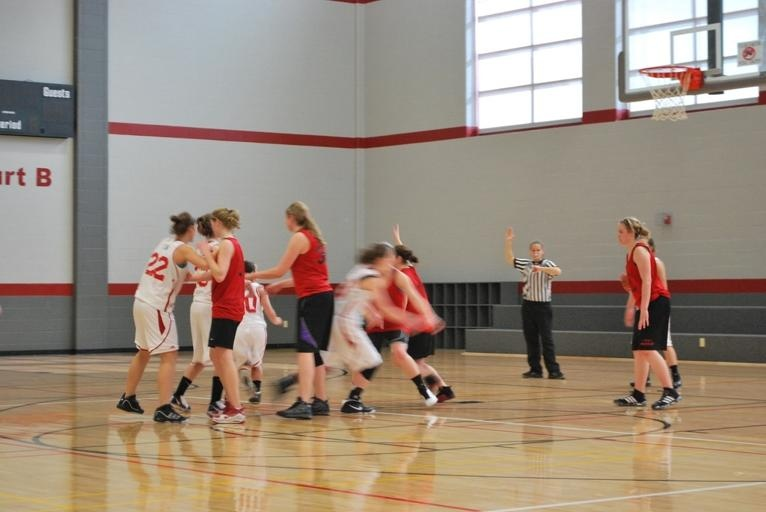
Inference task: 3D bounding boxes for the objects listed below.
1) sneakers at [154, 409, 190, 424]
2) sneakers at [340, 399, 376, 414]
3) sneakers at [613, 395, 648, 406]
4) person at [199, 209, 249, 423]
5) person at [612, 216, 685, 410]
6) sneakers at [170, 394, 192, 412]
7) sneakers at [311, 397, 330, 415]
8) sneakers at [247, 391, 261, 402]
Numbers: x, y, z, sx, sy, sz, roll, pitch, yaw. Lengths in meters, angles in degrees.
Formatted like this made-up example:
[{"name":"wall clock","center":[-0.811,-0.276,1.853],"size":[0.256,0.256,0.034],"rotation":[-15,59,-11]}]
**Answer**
[{"name":"sneakers","center":[-2.061,1.554,5.685],"size":[0.343,0.118,0.135],"rotation":[1,-2,8]},{"name":"sneakers","center":[-0.253,1.642,6.366],"size":[0.424,0.154,0.139],"rotation":[0,-2,-5]},{"name":"sneakers","center":[2.862,1.697,6.842],"size":[0.398,0.155,0.139],"rotation":[4,-3,2]},{"name":"person","center":[-1.497,0.576,5.629],"size":[0.407,2.105,0.552],"rotation":[-4,4,-14]},{"name":"person","center":[3.006,0.665,6.693],"size":[0.644,2.232,0.802],"rotation":[-1,4,25]},{"name":"sneakers","center":[-2.227,1.657,6.548],"size":[0.125,0.136,0.338],"rotation":[9,6,-45]},{"name":"sneakers","center":[-0.656,1.597,6.152],"size":[0.125,0.132,0.220],"rotation":[1,2,-18]},{"name":"sneakers","center":[-1.586,1.749,7.189],"size":[0.171,0.142,0.084],"rotation":[19,-19,-14]}]
